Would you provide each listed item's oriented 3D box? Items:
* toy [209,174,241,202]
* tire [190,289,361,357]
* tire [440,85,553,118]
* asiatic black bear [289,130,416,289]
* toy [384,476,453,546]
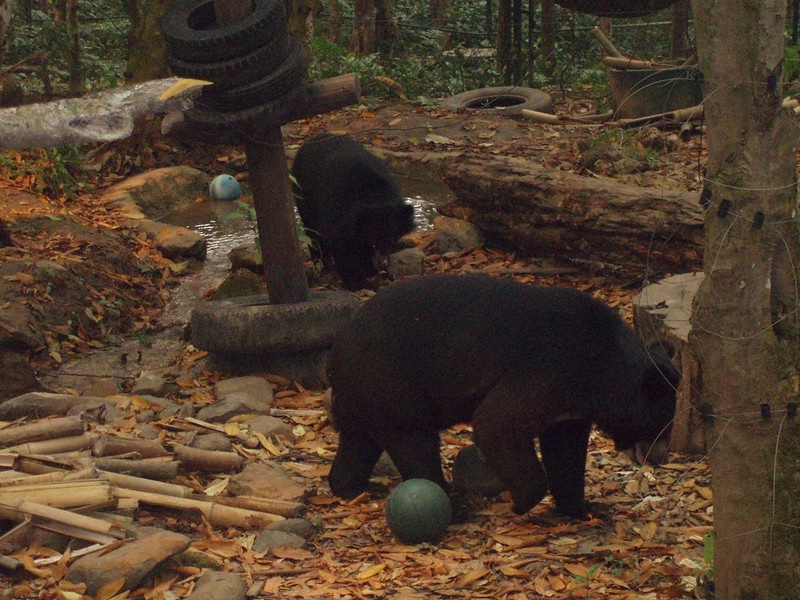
[{"bbox_3d":[-2.275,-1.462,15.477,0.390,0.337,0.330,-5,11,-7],"label":"toy"},{"bbox_3d":[-1.131,0.159,10.473,1.483,0.328,1.395,-8,12,-35],"label":"tire"},{"bbox_3d":[1.362,-2.862,17.073,1.503,0.424,1.822,-3,9,-3],"label":"tire"},{"bbox_3d":[-0.493,-0.926,12.065,1.092,1.208,2.088,-21,32,-24],"label":"asiatic black bear"},{"bbox_3d":[0.118,1.389,7.802,0.415,0.400,0.216,-5,12,-8],"label":"toy"}]
